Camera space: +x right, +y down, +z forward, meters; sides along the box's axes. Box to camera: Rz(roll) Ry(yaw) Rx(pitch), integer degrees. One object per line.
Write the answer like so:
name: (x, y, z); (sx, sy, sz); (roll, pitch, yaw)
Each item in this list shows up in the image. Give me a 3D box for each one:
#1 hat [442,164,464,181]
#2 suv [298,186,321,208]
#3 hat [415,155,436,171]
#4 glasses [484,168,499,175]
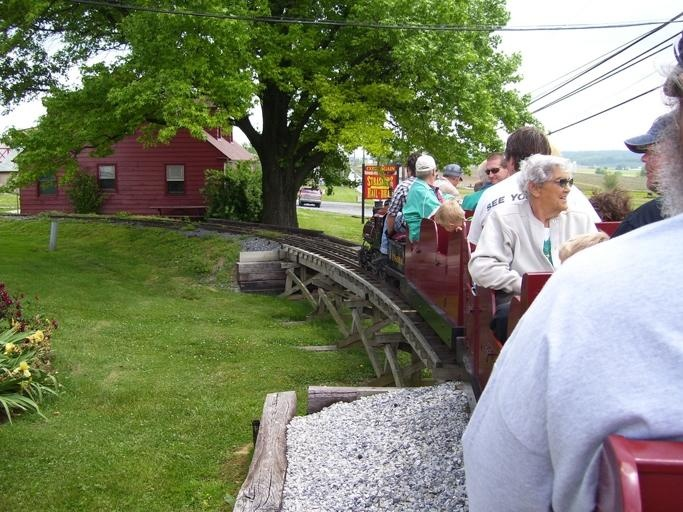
hat: (1.623, -1.233, 8.383); (0.235, 0.195, 0.338); (9, 18, 17)
suv: (-2.630, -4.877, 47.034); (1.793, 1.620, 1.925); (8, 5, 0)
hat: (1.091, -1.207, 7.378); (0.265, 0.198, 0.431); (4, 9, 13)
glasses: (1.520, -0.862, 5.679); (0.102, 0.034, 0.104); (5, -2, -11)
